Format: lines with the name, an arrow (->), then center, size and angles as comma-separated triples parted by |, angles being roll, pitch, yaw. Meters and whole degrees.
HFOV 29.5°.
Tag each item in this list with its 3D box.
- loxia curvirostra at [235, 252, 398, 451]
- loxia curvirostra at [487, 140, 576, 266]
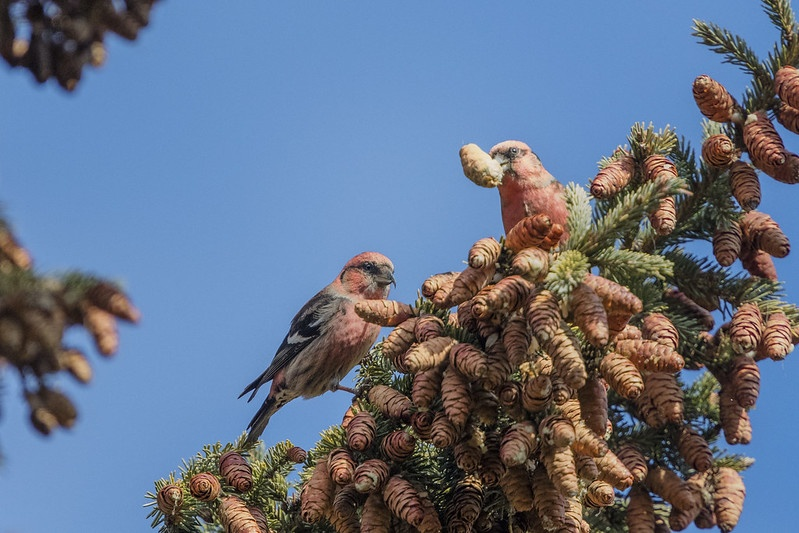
loxia curvirostra -> -0.499, 0.498, 9.672 | 1.127, 0.504, 1.171 | -3, -96, 31
loxia curvirostra -> 0.632, -0.247, 7.193 | 0.506, 0.511, 0.292 | 10, -59, -5
